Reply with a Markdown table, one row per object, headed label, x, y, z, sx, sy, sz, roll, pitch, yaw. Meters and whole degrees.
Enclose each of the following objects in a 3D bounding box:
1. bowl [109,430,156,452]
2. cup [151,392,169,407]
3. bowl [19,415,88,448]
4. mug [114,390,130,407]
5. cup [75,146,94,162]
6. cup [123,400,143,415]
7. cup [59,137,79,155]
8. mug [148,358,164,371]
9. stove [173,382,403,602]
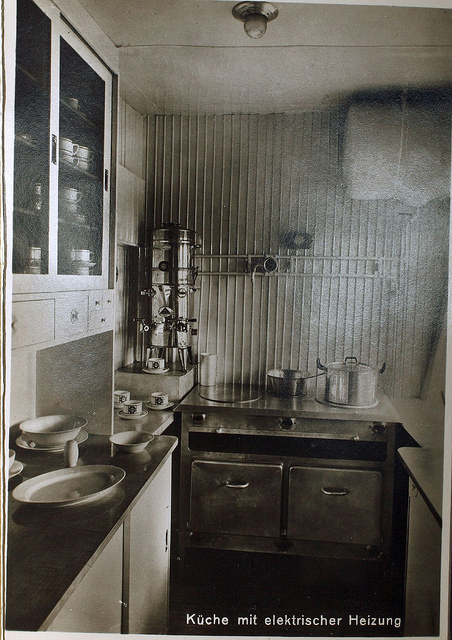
| label | x | y | z | sx | sy | sz | roll | pitch | yaw |
| --- | --- | --- | --- | --- | --- | --- | --- | --- | --- |
| bowl | -0.240 | 0.311 | 1.445 | 0.106 | 0.044 | 0.097 | 6 | 12 | -1 |
| cup | -0.194 | 0.235 | 1.678 | 0.049 | 0.033 | 0.051 | 0 | 7 | 0 |
| bowl | -0.418 | 0.253 | 1.378 | 0.113 | 0.068 | 0.124 | 7 | 7 | -1 |
| mug | -0.316 | 0.238 | 1.729 | 0.043 | 0.035 | 0.045 | 2 | -2 | -8 |
| cup | -0.330 | -0.389 | 1.326 | 0.028 | 0.034 | 0.031 | 0 | -3 | -3 |
| cup | -0.272 | 0.251 | 1.644 | 0.038 | 0.026 | 0.040 | 0 | 4 | 0 |
| cup | -0.348 | -0.392 | 1.260 | 0.035 | 0.026 | 0.022 | 4 | 9 | -23 |
| mug | -0.180 | 0.112 | 1.464 | 0.032 | 0.026 | 0.031 | 1 | -3 | -34 |
| stove | 0.142 | 0.381 | 1.343 | 0.463 | 0.433 | 0.314 | 2 | 8 | 7 |
